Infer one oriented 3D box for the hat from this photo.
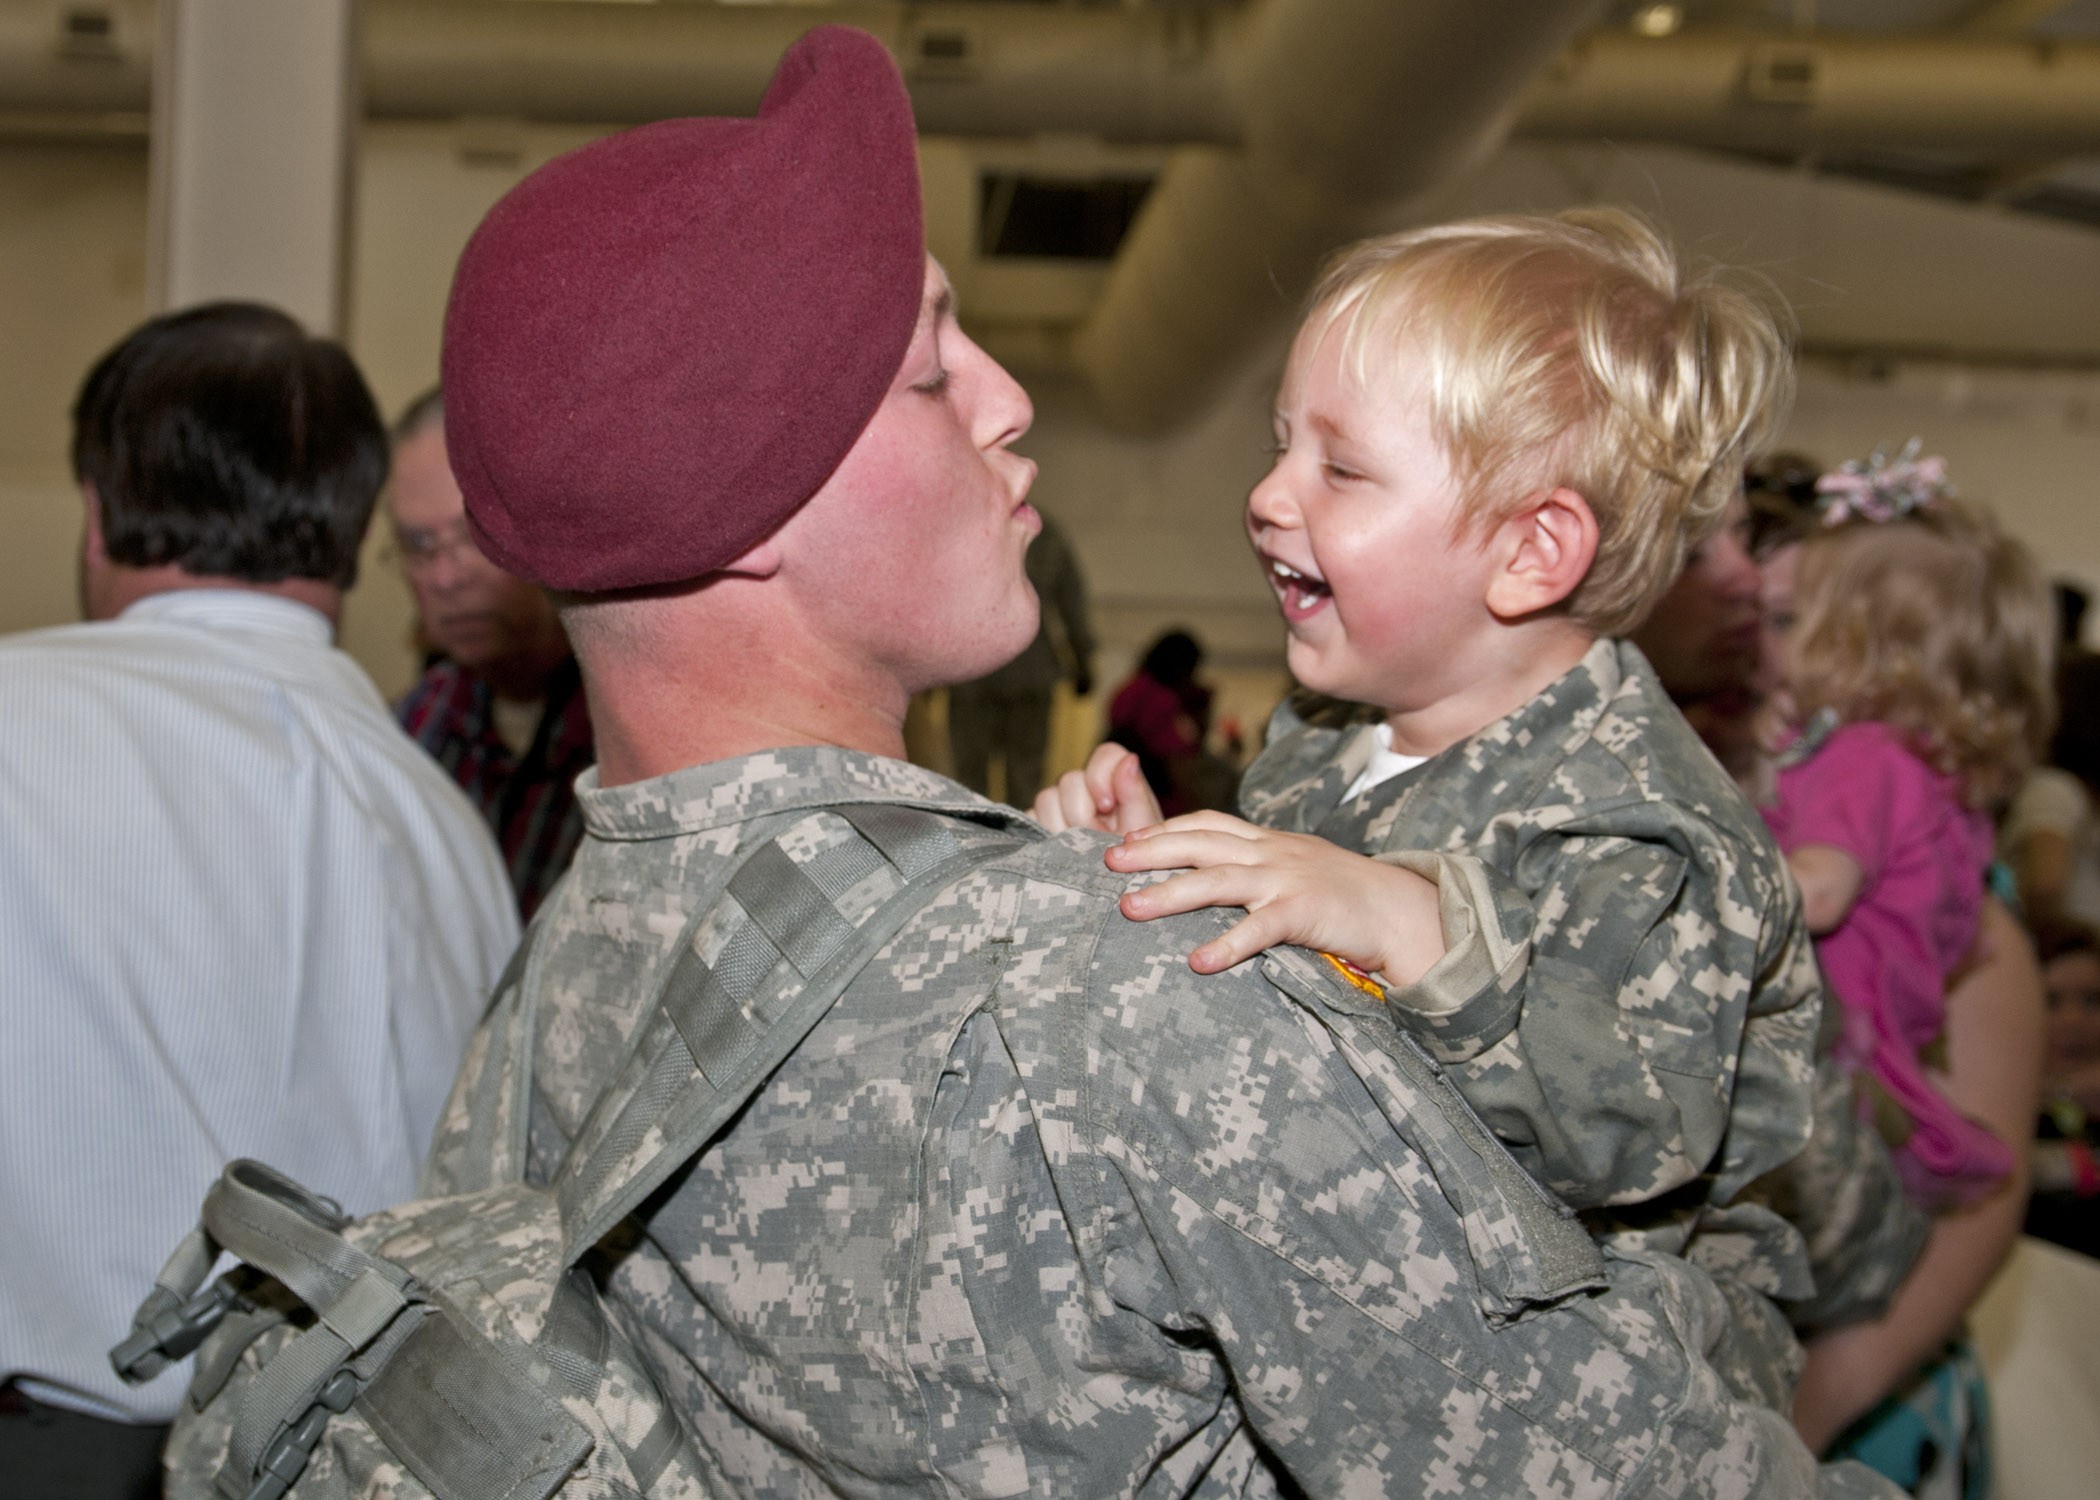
[{"bbox_3d":[-0.459,-0.564,3.017,0.486,0.733,0.209,20,1,15],"label":"hat"}]
